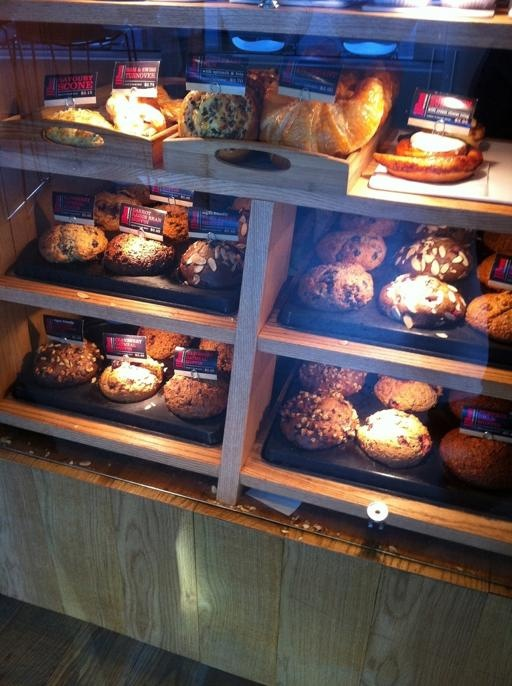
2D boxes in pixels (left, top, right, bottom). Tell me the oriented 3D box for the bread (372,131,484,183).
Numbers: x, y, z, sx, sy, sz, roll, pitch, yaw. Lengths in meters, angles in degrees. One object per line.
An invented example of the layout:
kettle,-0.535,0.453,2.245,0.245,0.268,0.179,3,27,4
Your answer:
bread,0.333,-0.352,1.047,0.156,0.048,0.116,19,47,27

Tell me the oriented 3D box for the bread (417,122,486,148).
bread,0.399,-0.405,1.096,0.084,0.021,0.084,21,26,35

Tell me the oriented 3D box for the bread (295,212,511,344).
bread,0.294,-0.135,1.230,0.337,0.082,0.348,5,41,10
